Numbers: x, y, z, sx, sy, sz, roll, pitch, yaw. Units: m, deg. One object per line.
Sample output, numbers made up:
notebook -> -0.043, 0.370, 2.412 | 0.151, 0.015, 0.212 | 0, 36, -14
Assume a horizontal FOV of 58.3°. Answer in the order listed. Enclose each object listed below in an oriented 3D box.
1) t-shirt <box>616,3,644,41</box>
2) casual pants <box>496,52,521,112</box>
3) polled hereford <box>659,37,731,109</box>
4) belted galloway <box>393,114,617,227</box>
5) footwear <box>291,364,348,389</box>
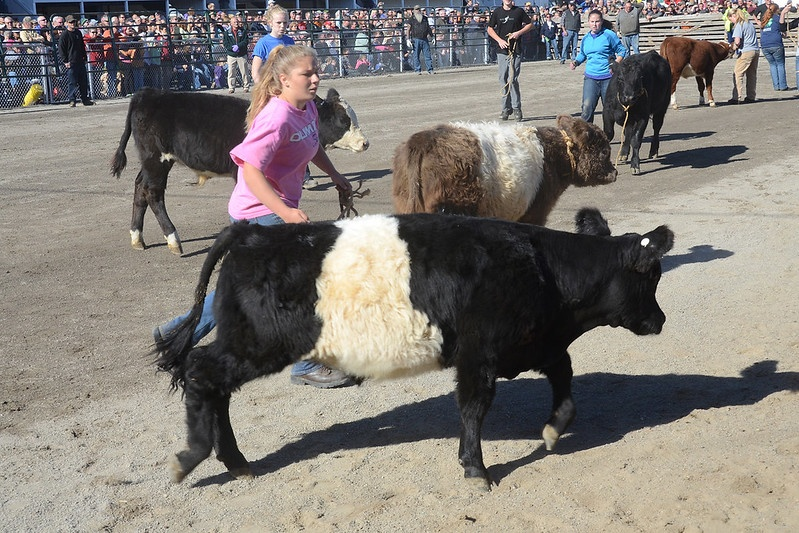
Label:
t-shirt -> 7.142, -7.664, 22.386 | 0.622, 0.997, 0.978 | 3, 18, 15
casual pants -> 2.539, -4.221, 16.525 | 0.463, 1.335, 0.884 | 0, 18, 7
polled hereford -> 7.761, -4.966, 18.507 | 2.314, 1.779, 0.666 | -6, 9, -21
belted galloway -> 1.099, -1.013, 7.603 | 2.631, 1.453, 0.929 | -6, 11, -27
footwear -> -0.644, 0.907, 5.976 | 0.521, 0.270, 0.208 | -1, 9, 6
